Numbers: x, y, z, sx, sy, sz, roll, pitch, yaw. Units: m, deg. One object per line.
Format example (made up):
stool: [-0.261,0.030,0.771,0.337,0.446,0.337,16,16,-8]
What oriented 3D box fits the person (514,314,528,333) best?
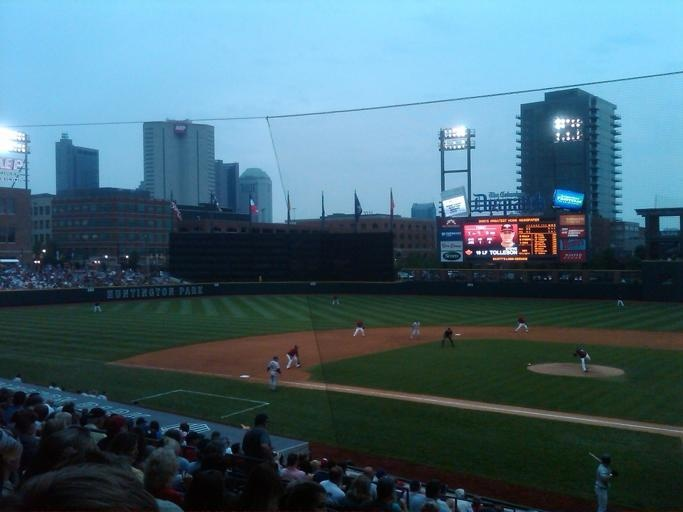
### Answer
person: [10.282,3.827,49.688,0.759,0.972,2.653,0,0,12]

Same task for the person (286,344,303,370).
person: [-2.265,4.668,40.782,0.701,0.979,2.530,0,0,-4]
